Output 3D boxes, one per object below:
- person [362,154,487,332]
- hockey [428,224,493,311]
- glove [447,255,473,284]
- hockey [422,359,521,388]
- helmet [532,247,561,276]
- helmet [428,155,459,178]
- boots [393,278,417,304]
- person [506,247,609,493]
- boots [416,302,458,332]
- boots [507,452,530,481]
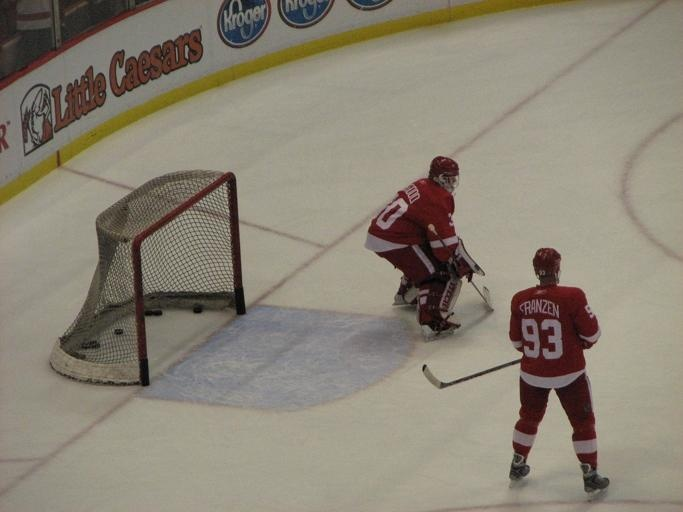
[{"bbox_3d":[0.660,-0.120,8.095,1.042,1.362,1.140,-3,16,-9],"label":"person"},{"bbox_3d":[0.979,0.127,8.005,0.241,0.842,0.169,-35,22,31],"label":"hockey"},{"bbox_3d":[0.966,0.104,7.816,0.159,0.211,0.069,-41,4,0],"label":"glove"},{"bbox_3d":[0.994,0.885,7.233,0.813,0.235,0.079,-8,28,-16],"label":"hockey"},{"bbox_3d":[1.338,0.032,6.360,0.155,0.172,0.192,4,15,23],"label":"helmet"},{"bbox_3d":[0.825,-0.726,7.835,0.216,0.160,0.160,-4,16,3],"label":"helmet"},{"bbox_3d":[0.533,0.294,8.234,0.241,0.216,0.169,-5,28,1],"label":"boots"},{"bbox_3d":[1.402,0.746,6.312,0.644,1.562,0.377,-2,12,13],"label":"person"},{"bbox_3d":[0.781,0.486,7.793,0.292,0.114,0.211,-2,12,-15],"label":"boots"},{"bbox_3d":[1.185,1.377,6.423,0.109,0.140,0.207,9,25,24],"label":"boots"}]
